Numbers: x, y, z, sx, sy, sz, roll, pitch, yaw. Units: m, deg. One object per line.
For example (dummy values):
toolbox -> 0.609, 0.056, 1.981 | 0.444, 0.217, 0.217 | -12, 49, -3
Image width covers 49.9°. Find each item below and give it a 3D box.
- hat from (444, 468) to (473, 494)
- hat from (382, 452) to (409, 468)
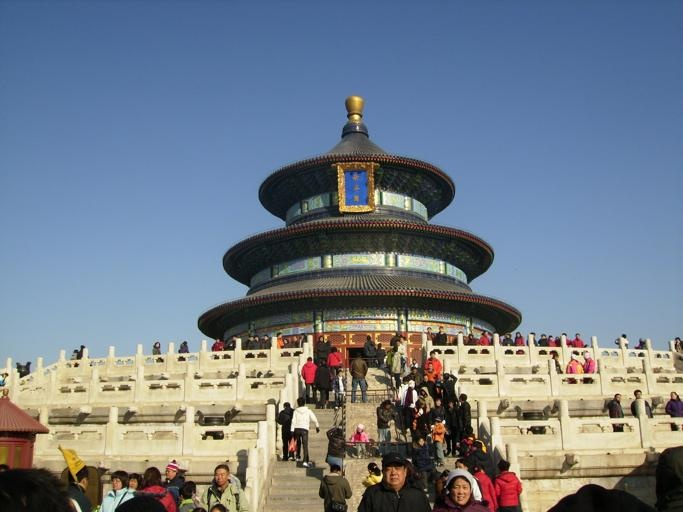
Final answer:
hat -> 1.184, 2.264, 7.375 | 0.216, 0.179, 0.223 | 2, -17, -4
hat -> 0.589, 2.247, 8.098 | 0.247, 0.174, 0.315 | 0, -21, 4
